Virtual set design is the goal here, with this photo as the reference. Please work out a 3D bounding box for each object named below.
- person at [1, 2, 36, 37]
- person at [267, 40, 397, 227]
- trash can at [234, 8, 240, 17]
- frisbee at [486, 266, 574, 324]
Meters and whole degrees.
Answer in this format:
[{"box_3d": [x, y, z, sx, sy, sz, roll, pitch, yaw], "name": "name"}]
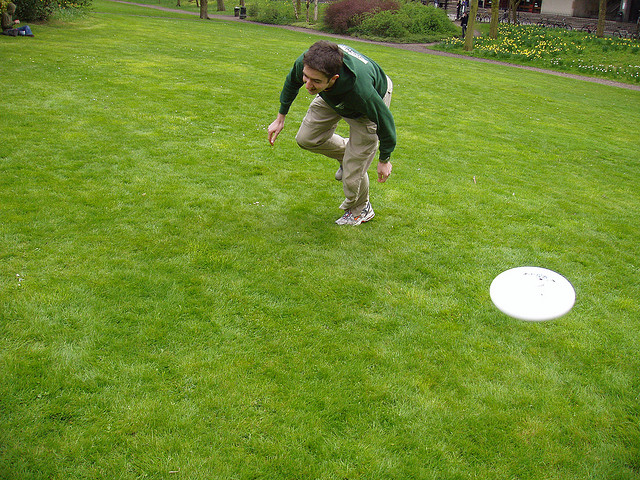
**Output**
[{"box_3d": [-8.415, -6.065, 14.624, 0.713, 0.776, 1.157, -12, 29, -36], "name": "person"}, {"box_3d": [0.195, -1.052, 5.648, 1.174, 1.987, 1.200, 3, 23, -6], "name": "person"}, {"box_3d": [-5.603, -15.433, 35.983, 0.389, 0.509, 0.392, 0, 15, 9], "name": "trash can"}, {"box_3d": [1.938, 0.488, 4.878, 0.692, 0.279, 0.619, 12, 23, 14], "name": "frisbee"}]
